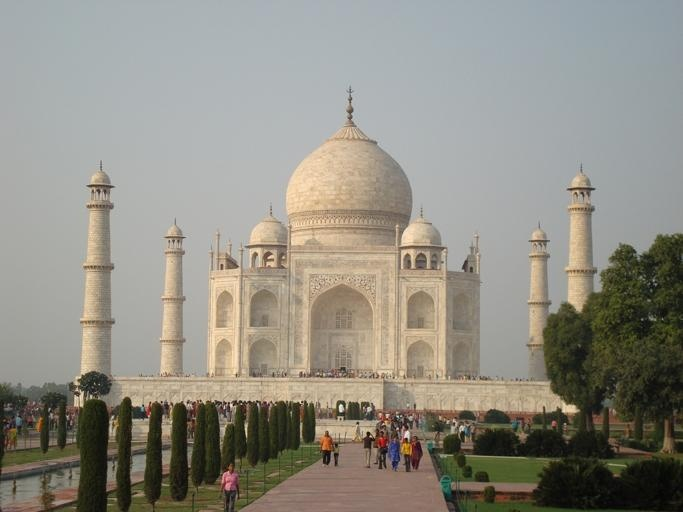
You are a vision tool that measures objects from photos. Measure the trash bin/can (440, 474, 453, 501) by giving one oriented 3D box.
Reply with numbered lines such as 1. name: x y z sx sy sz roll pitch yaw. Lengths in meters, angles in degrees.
1. trash bin/can: 2.985 6.595 44.255 0.462 0.862 0.538 -3 -2 10
